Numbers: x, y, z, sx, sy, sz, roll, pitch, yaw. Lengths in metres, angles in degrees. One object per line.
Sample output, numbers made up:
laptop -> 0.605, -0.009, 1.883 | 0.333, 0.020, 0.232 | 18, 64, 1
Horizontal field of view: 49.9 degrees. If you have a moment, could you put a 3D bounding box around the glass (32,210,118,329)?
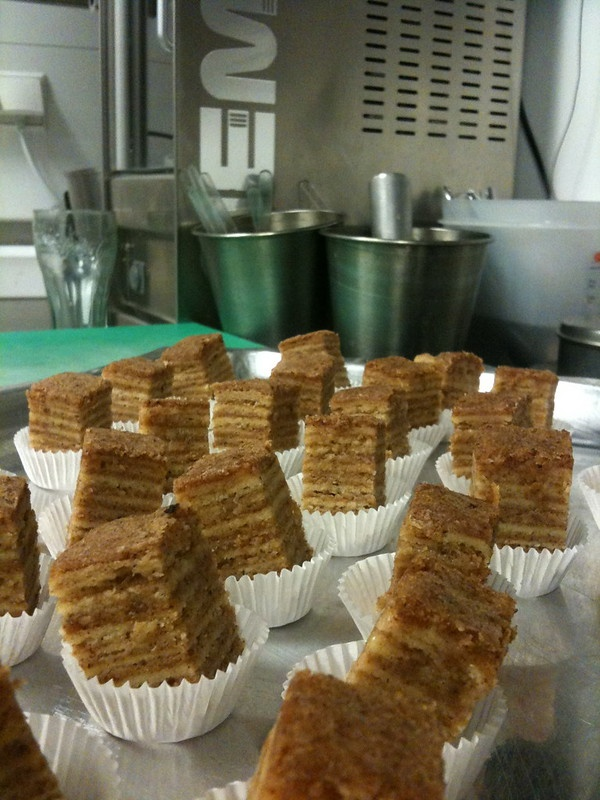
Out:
glass -> -1.221, -0.700, 3.520 | 0.392, 0.664, 0.424 | -7, 17, -16

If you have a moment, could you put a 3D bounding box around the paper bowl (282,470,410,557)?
paper bowl -> 0.181, 0.378, 2.074 | 0.259, 0.121, 0.274 | -2, 8, 0

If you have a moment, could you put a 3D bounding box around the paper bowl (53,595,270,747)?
paper bowl -> -0.222, 0.528, 1.240 | 0.397, 0.205, 0.215 | -13, 23, -31

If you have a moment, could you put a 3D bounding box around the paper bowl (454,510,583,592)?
paper bowl -> 0.705, 0.430, 1.853 | 0.241, 0.145, 0.254 | -29, 19, 11

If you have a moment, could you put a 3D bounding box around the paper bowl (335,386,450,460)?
paper bowl -> 0.282, 0.080, 2.569 | 0.325, 0.242, 0.319 | -3, -4, 0
